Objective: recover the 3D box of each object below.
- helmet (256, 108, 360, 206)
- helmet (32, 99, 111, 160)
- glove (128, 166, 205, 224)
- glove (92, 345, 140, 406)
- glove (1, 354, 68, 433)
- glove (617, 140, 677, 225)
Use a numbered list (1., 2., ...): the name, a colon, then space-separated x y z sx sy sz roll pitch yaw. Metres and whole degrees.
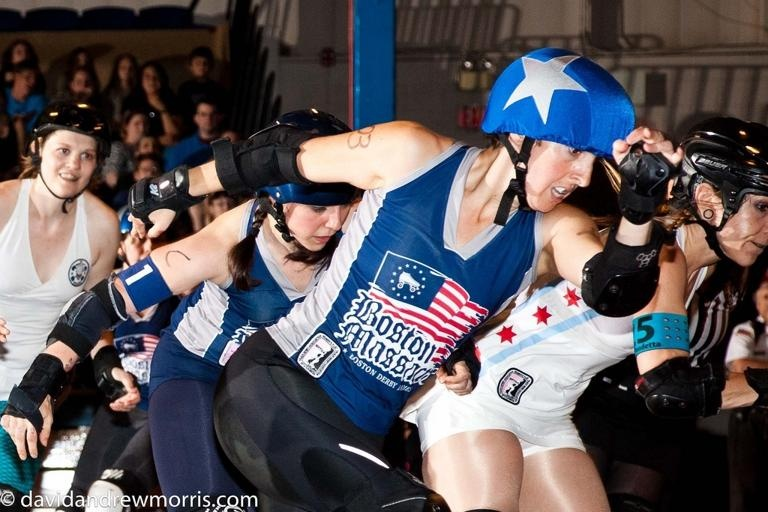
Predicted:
1. helmet: -0.384 -0.530 3.992 0.562 0.541 0.426 -3 3 -3
2. helmet: -2.004 -0.776 4.747 0.340 0.420 0.326 15 44 -41
3. glove: -1.102 -0.304 3.772 0.221 0.361 0.166 -87 157 -43
4. glove: -1.718 0.742 4.625 0.392 0.156 0.291 55 2 37
5. glove: -1.859 0.704 3.964 0.265 0.440 0.162 31 3 26
6. glove: 1.098 -0.315 3.205 0.230 0.323 0.136 23 5 -5
